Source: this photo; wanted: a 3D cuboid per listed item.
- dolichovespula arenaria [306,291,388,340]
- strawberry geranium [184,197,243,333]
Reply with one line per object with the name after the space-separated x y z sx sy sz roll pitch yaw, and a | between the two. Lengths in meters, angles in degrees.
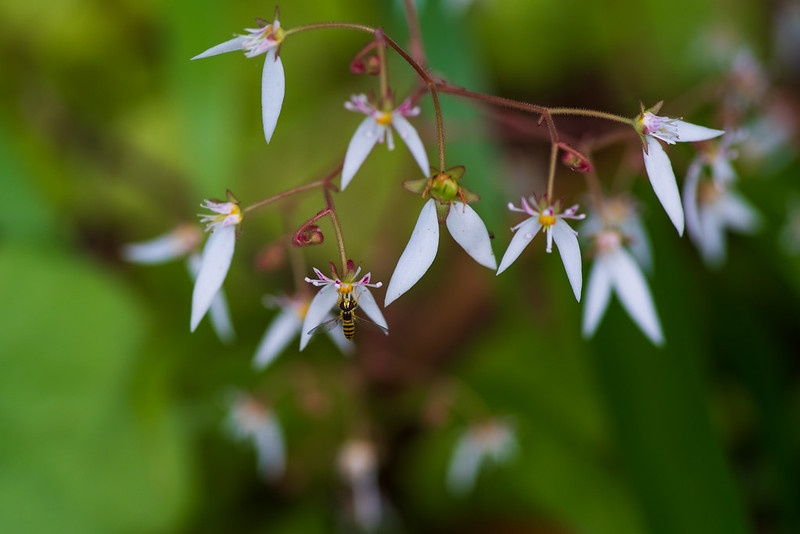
-0.165 0.149 2.460 0.193 0.168 0.105 -2 23 -7 | dolichovespula arenaria
-0.550 -0.022 2.425 0.108 0.520 0.145 11 -9 5 | strawberry geranium
